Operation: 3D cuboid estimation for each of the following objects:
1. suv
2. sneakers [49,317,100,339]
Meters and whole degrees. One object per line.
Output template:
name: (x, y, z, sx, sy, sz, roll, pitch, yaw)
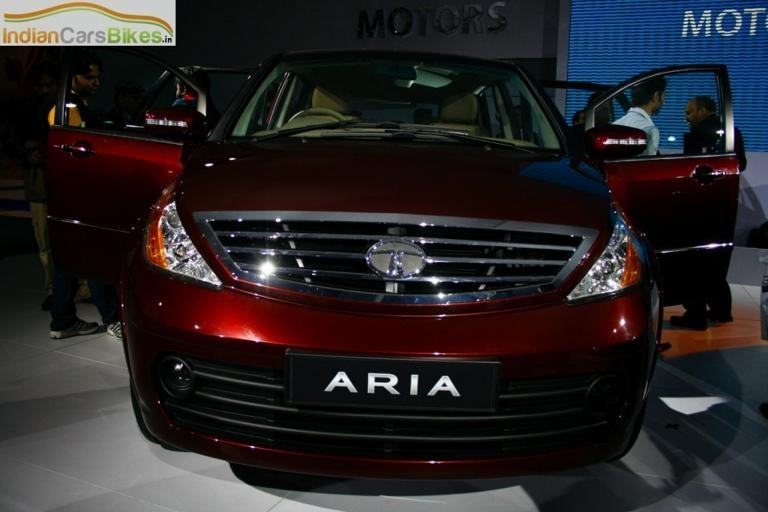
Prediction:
suv: (0.040, 0.016, 3.013, 2.708, 1.091, 2.686, 1, 2, 2)
sneakers: (-2.027, 0.487, 3.631, 0.355, 0.125, 0.116, -6, 11, -43)
